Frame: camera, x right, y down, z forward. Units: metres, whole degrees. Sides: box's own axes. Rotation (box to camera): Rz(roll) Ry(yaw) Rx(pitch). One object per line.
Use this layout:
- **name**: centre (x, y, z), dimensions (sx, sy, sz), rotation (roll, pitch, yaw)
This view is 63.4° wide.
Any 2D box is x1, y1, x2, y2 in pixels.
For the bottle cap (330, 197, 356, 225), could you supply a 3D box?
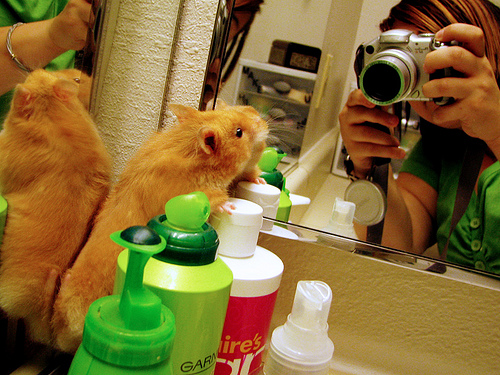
- **bottle cap**: centre (0.142, 0.037, 0.635), dimensions (0.037, 0.043, 0.037), rotation (13, 3, -37)

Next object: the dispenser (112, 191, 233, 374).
- **dispenser**: centre (-0.069, 0.099, 0.490), dimensions (0.127, 0.204, 0.114), rotation (18, 12, 40)
